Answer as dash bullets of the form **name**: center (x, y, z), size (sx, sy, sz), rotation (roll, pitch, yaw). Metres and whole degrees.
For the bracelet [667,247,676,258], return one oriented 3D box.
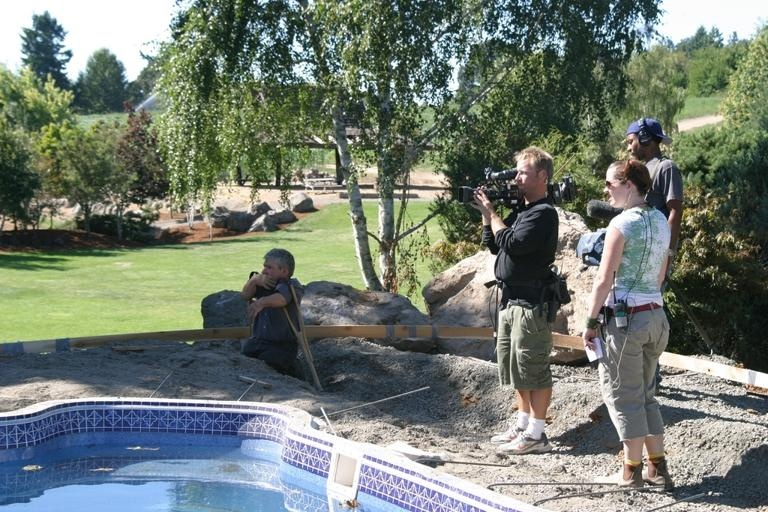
- **bracelet**: center (4.406, -0.069, 15.416), size (0.152, 0.155, 0.162), rotation (-3, -22, 30)

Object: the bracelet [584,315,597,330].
- **bracelet**: center (2.969, 0.960, 14.456), size (0.137, 0.133, 0.166), rotation (15, -2, 12)

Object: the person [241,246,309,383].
- **person**: center (-1.898, 0.978, 17.084), size (0.975, 2.176, 0.662), rotation (0, 6, -5)

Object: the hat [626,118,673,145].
- **hat**: center (4.123, -1.961, 15.703), size (0.550, 0.276, 0.402), rotation (2, 4, -9)

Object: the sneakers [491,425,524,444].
- **sneakers**: center (1.895, 2.739, 15.428), size (0.604, 0.239, 0.217), rotation (-11, 9, 6)
